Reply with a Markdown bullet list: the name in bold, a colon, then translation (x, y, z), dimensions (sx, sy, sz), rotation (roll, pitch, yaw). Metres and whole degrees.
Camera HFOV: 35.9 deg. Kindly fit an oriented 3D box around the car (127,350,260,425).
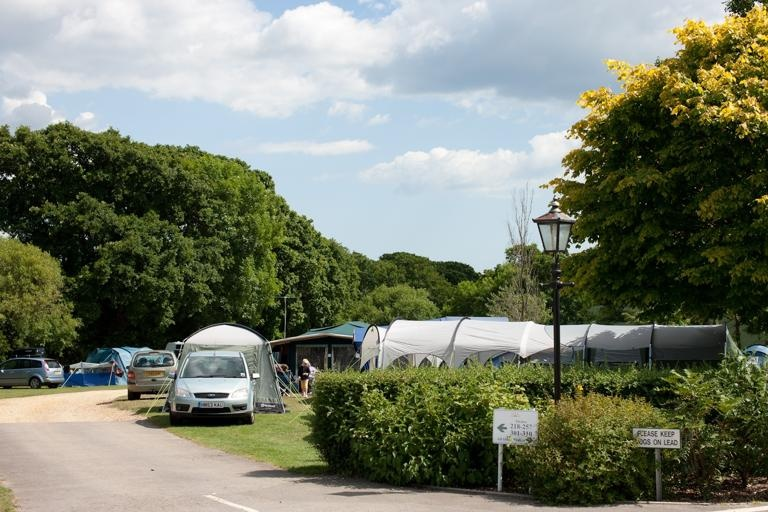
- **car**: translation (-6.062, 4.765, 42.009), dimensions (2.969, 2.372, 1.947), rotation (-2, 3, -8)
